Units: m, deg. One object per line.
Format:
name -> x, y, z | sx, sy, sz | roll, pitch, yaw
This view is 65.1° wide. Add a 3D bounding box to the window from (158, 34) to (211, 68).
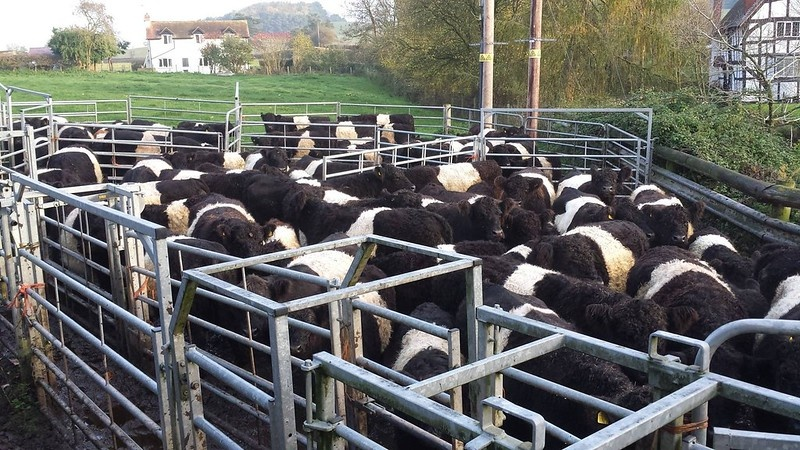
window -> -30.106, -24.159, 86.845 | 7.819, 5.141, 4.327 | -3, 11, -20
